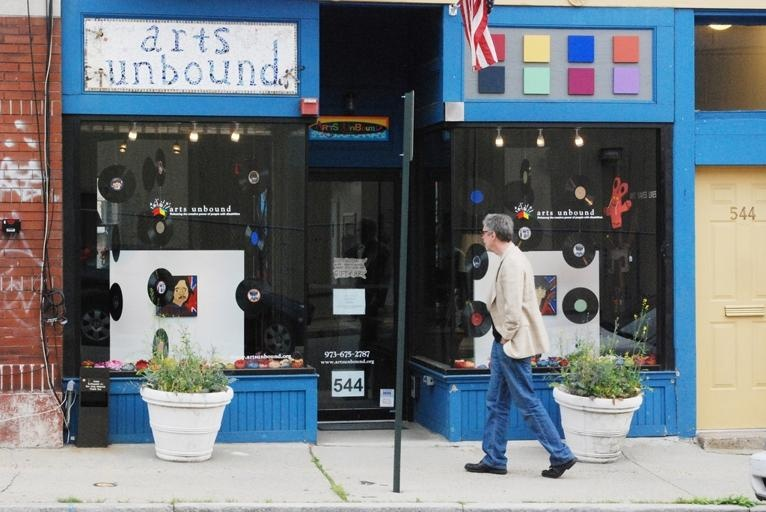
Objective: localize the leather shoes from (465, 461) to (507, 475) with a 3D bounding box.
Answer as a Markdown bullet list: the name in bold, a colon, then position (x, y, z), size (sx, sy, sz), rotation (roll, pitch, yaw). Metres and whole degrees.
- **leather shoes**: position (1.232, 2.537, 13.425), size (0.470, 0.197, 0.181), rotation (7, -3, 8)

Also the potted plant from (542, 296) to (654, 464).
- **potted plant**: position (2.705, 1.614, 14.101), size (1.037, 1.884, 1.039), rotation (2, -1, 1)

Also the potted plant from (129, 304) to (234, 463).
- **potted plant**: position (-2.470, 1.827, 13.925), size (1.090, 1.208, 0.953), rotation (-2, 12, -14)
